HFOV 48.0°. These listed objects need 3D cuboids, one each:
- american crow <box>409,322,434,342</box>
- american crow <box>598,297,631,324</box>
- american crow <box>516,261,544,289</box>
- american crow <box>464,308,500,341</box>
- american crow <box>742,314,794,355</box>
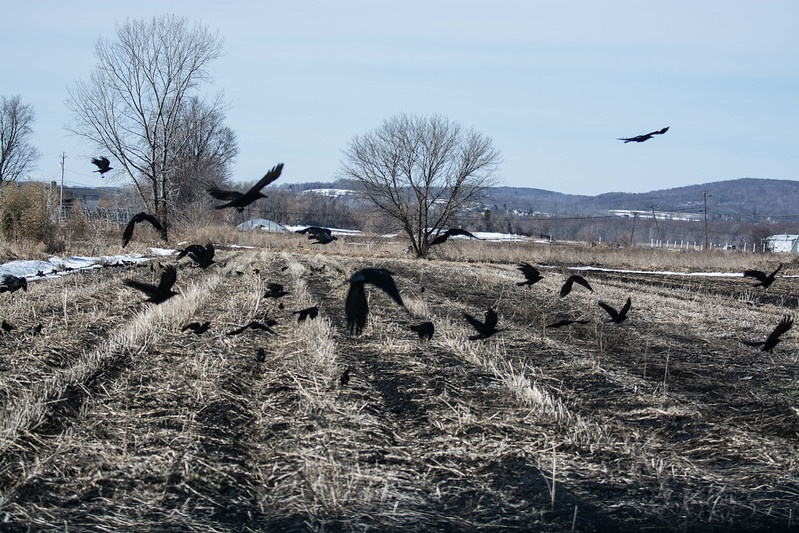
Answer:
[{"bbox_3d":[0.327,0.801,11.967,0.407,0.283,0.188,8,34,14],"label":"american crow"},{"bbox_3d":[3.344,0.688,14.056,0.407,0.305,0.558,-2,-3,23],"label":"american crow"},{"bbox_3d":[2.586,0.171,17.954,0.325,0.199,0.511,-13,-18,21],"label":"american crow"},{"bbox_3d":[0.981,0.729,11.296,0.488,0.392,0.637,3,-5,31],"label":"american crow"},{"bbox_3d":[5.383,1.005,13.190,0.341,0.215,0.589,-1,-33,-27],"label":"american crow"}]
